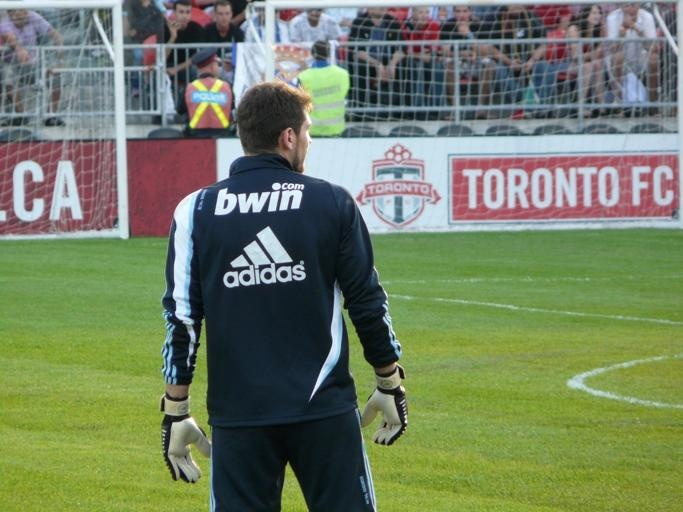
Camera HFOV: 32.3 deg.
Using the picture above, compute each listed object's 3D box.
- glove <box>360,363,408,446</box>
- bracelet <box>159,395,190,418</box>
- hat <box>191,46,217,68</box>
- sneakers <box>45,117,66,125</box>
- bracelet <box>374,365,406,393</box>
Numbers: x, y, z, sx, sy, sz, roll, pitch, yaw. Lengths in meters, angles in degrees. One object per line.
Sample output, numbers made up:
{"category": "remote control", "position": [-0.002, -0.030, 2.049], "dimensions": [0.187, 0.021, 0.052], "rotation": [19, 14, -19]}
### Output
{"category": "glove", "position": [0.225, 0.742, 5.893], "dimensions": [0.233, 0.426, 0.160], "rotation": [26, -33, -9]}
{"category": "bracelet", "position": [-0.811, 0.746, 5.769], "dimensions": [0.107, 0.091, 0.117], "rotation": [1, -2, -7]}
{"category": "hat", "position": [-1.112, -1.625, 9.555], "dimensions": [0.169, 0.067, 0.164], "rotation": [-25, 15, 5]}
{"category": "sneakers", "position": [-2.089, -0.995, 8.634], "dimensions": [0.156, 0.067, 0.122], "rotation": [-3, 4, -29]}
{"category": "bracelet", "position": [0.243, 0.612, 5.855], "dimensions": [0.101, 0.102, 0.140], "rotation": [0, 5, 35]}
